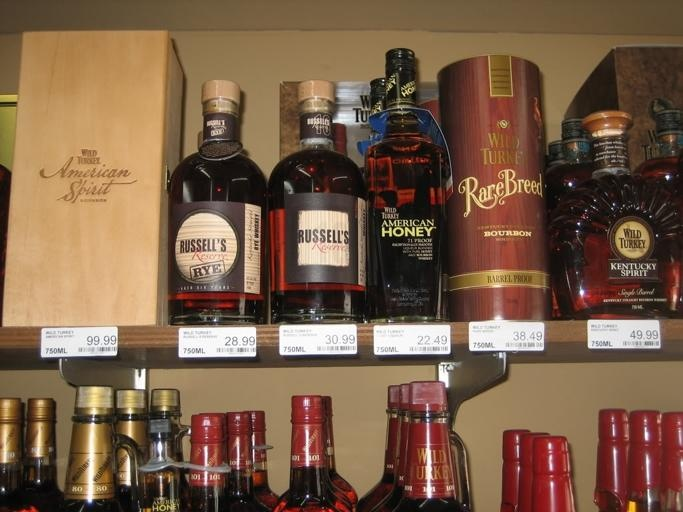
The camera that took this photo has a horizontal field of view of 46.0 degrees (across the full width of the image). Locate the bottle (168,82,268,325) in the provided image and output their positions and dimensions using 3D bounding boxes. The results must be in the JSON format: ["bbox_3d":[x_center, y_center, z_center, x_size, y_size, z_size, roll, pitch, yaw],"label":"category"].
[{"bbox_3d":[-0.222,-0.098,1.479,0.183,0.451,0.140,1,-8,-14],"label":"bottle"}]

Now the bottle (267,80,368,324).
[{"bbox_3d":[-0.046,-0.099,1.474,0.185,0.448,0.128,-1,-8,-1],"label":"bottle"}]

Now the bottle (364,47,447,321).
[{"bbox_3d":[0.122,-0.127,1.507,0.149,0.505,0.123,-3,-8,16],"label":"bottle"}]
